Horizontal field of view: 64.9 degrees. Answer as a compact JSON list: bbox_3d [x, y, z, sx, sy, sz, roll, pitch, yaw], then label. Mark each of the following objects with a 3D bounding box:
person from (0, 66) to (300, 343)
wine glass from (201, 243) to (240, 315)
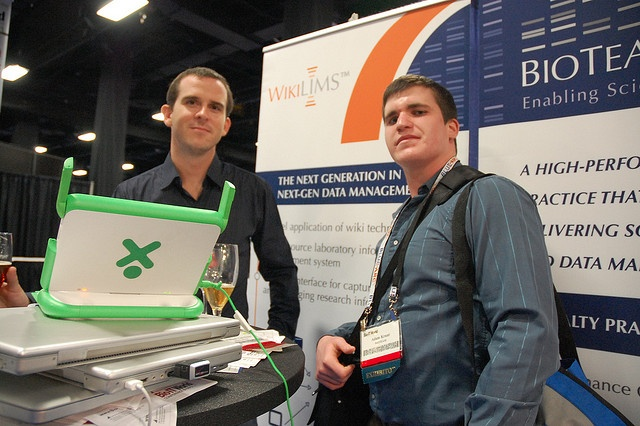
[{"bbox_3d":[-0.617,-0.069,2.769,1.044,1.452,0.413,2,-4,-2],"label":"person"},{"bbox_3d":[-0.408,0.275,2.074,0.137,0.298,0.180,2,-4,-12],"label":"wine glass"}]
